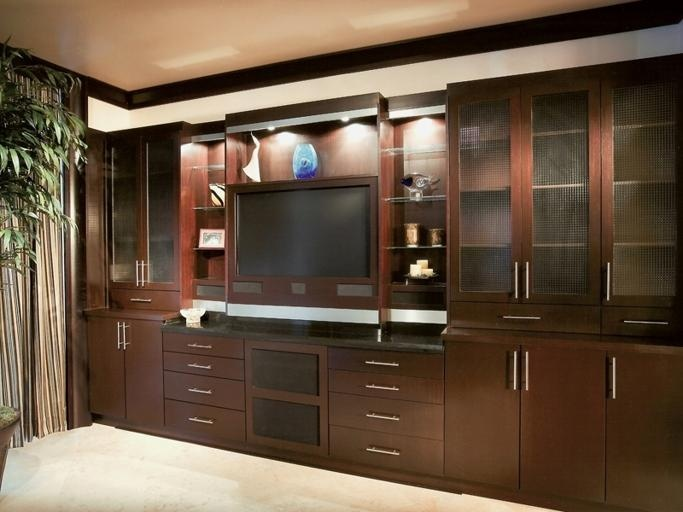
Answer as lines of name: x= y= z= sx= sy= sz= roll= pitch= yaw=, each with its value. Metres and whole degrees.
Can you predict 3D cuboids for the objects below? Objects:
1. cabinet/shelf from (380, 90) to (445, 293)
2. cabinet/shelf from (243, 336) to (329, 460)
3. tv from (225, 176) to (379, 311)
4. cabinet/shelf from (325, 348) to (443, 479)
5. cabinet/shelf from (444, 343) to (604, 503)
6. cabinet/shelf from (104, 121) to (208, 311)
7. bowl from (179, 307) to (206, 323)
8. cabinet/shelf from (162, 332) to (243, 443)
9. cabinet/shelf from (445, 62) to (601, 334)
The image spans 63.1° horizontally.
cabinet/shelf: x=0.472 y=-0.455 z=4.666 sx=0.208 sy=1.479 sz=0.577 roll=4 pitch=14 yaw=25
cabinet/shelf: x=-0.377 y=1.086 z=4.572 sx=0.732 sy=0.855 sz=0.457 roll=1 pitch=4 yaw=22
tv: x=-0.336 y=-0.117 z=4.650 sx=1.275 sy=1.069 sz=0.164 roll=-1 pitch=-10 yaw=6
cabinet/shelf: x=0.350 y=1.166 z=4.127 sx=0.969 sy=0.985 sz=0.466 roll=0 pitch=-2 yaw=16
cabinet/shelf: x=1.304 y=1.140 z=4.047 sx=1.135 sy=1.070 sz=0.392 roll=1 pitch=2 yaw=20
cabinet/shelf: x=-1.785 y=-0.236 z=5.177 sx=0.795 sy=1.869 sz=0.321 roll=1 pitch=5 yaw=9
bowl: x=-1.325 y=0.518 z=4.900 sx=0.148 sy=0.077 sz=0.146 roll=-1 pitch=-2 yaw=0
cabinet/shelf: x=-1.081 y=1.036 z=4.860 sx=0.785 sy=0.947 sz=0.547 roll=3 pitch=7 yaw=16
cabinet/shelf: x=1.318 y=-0.371 z=3.951 sx=1.031 sy=1.742 sz=0.432 roll=3 pitch=15 yaw=15
